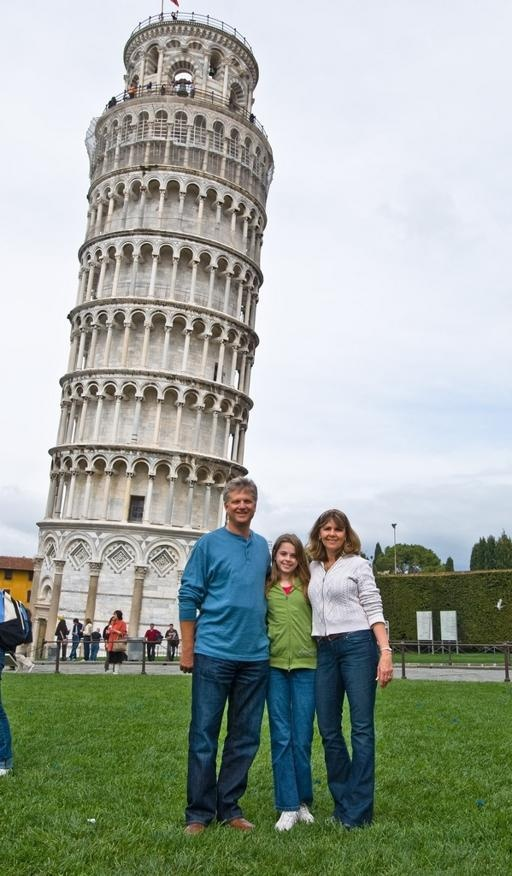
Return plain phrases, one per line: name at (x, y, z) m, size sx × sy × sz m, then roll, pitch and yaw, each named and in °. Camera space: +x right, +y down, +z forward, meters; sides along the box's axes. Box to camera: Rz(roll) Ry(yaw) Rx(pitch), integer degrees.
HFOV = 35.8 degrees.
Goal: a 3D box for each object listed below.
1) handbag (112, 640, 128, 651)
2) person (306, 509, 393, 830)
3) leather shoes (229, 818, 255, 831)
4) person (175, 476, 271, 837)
handbag at (-3.830, 5.799, 22.245) m, size 0.361 × 0.340 × 1.416 m, roll 6°, pitch -11°, yaw -9°
person at (0.650, 1.529, 5.529) m, size 0.436 × 2.052 × 0.738 m, roll 8°, pitch -12°, yaw -20°
leather shoes at (-0.087, 2.447, 5.042) m, size 0.170 × 0.123 × 0.060 m, roll -16°, pitch -25°, yaw 37°
person at (-0.181, 1.370, 5.408) m, size 0.697 × 2.311 × 0.650 m, roll 7°, pitch -11°, yaw -18°
